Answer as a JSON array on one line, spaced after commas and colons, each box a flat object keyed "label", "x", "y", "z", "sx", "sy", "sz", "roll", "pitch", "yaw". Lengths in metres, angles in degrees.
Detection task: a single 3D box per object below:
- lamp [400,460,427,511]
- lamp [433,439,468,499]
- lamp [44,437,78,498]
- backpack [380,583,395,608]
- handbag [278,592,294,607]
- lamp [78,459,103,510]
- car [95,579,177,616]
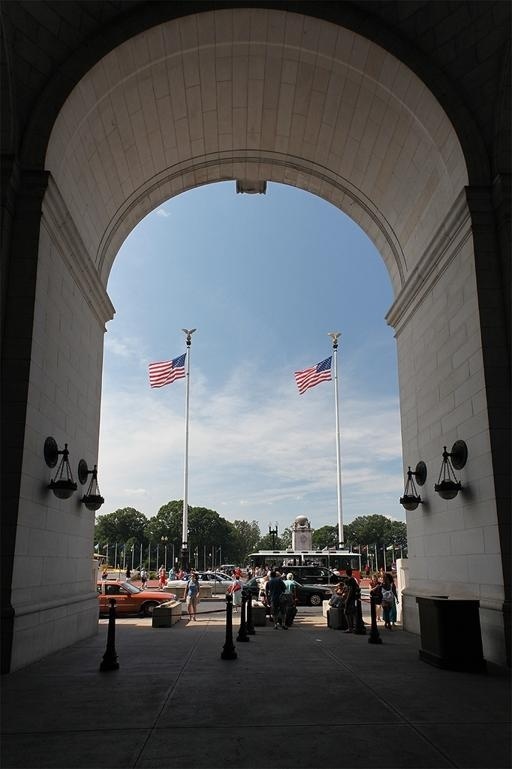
[{"label": "lamp", "x": 3.589, "y": 2.306, "z": 11.394, "sx": 0.385, "sy": 1.151, "sz": 0.453, "roll": 4, "pitch": -7, "yaw": -5}, {"label": "lamp", "x": 3.486, "y": 1.509, "z": 8.915, "sx": 0.353, "sy": 1.078, "sz": 0.420, "roll": 4, "pitch": -10, "yaw": -10}, {"label": "lamp", "x": -3.598, "y": 1.566, "z": 9.204, "sx": 0.508, "sy": 1.090, "sz": 1.581, "roll": 4, "pitch": -15, "yaw": -17}, {"label": "backpack", "x": 3.587, "y": 5.772, "z": 13.599, "sx": 0.336, "sy": 0.586, "sz": 0.456, "roll": -3, "pitch": -13, "yaw": 12}, {"label": "handbag", "x": 0.912, "y": 6.224, "z": 14.503, "sx": 0.268, "sy": 0.438, "sz": 0.390, "roll": -5, "pitch": -1, "yaw": -8}, {"label": "lamp", "x": -3.763, "y": 2.277, "z": 11.238, "sx": 0.538, "sy": 1.122, "sz": 2.169, "roll": 4, "pitch": -16, "yaw": -20}, {"label": "car", "x": -5.022, "y": 8.540, "z": 19.713, "sx": 2.678, "sy": 1.332, "sz": 1.035, "roll": -4, "pitch": -14, "yaw": 11}]
